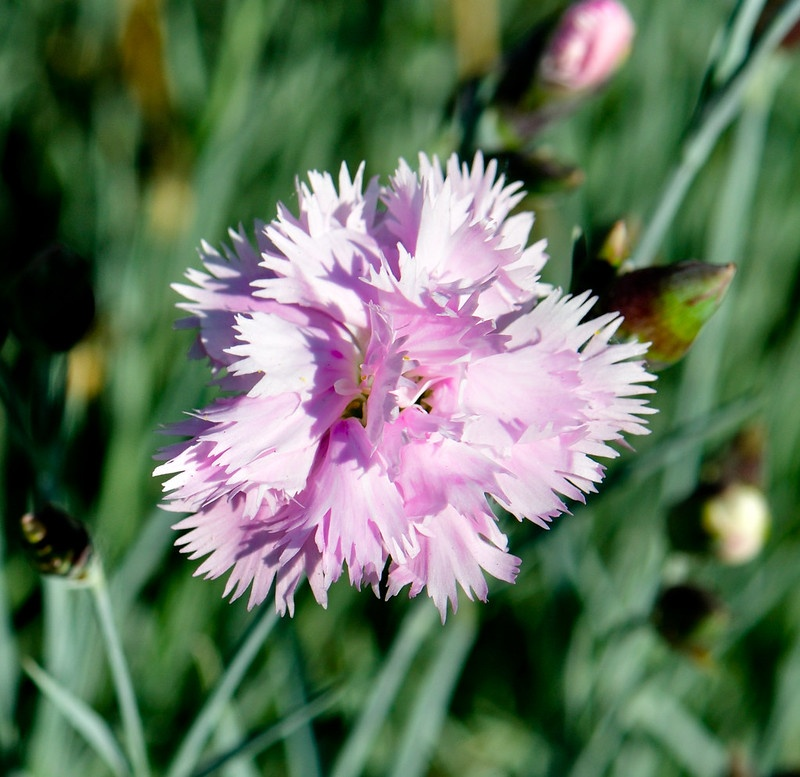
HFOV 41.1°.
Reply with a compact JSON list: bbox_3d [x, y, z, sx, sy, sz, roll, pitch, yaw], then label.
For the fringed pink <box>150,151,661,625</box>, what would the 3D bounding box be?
[{"bbox_3d":[-0.010,-0.019,0.741,0.276,0.155,0.321,-16,102,-10],"label":"fringed pink"}]
